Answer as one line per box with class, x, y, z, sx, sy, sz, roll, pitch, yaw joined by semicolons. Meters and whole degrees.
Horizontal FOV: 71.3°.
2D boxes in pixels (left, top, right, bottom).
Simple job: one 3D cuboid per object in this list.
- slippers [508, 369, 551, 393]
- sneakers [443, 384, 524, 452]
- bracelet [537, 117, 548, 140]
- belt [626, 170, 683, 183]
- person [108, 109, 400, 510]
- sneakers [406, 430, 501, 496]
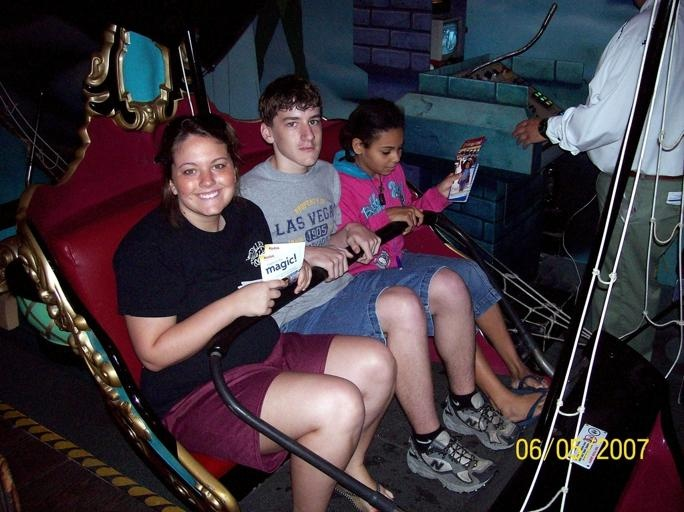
slippers;0.772;0.519;1.961;0.157;0.043;0.072;-10;42;35
sneakers;0.536;0.600;1.946;0.336;0.191;0.158;23;49;19
bracelet;1.014;-0.642;2.409;0.063;0.068;0.085;-37;-2;36
belt;1.411;-0.362;2.162;0.253;0.048;0.079;-4;20;-17
person;-0.284;0.034;2.235;1.166;1.937;0.933;-2;13;15
sneakers;0.382;0.716;1.802;0.372;0.188;0.172;16;51;23
